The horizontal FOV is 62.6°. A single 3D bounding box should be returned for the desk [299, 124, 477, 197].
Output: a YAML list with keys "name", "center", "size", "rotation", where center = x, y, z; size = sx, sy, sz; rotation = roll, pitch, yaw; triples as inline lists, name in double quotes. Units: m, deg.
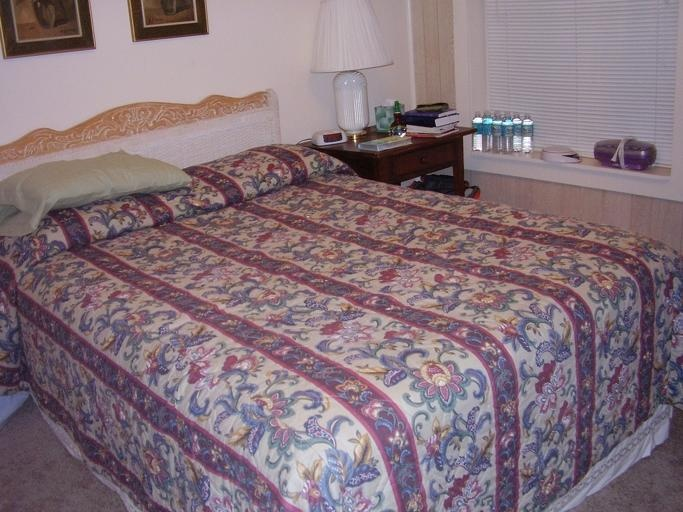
- name: "desk"
  center: [0.291, -0.720, 3.838]
  size: [0.838, 0.618, 0.653]
  rotation: [-18, 22, -38]

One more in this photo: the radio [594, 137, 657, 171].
- name: "radio"
  center: [1.806, -0.650, 3.565]
  size: [0.212, 0.171, 0.369]
  rotation: [-4, 16, -37]

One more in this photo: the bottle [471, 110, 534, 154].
- name: "bottle"
  center: [1.203, -0.889, 4.166]
  size: [0.246, 0.352, 0.406]
  rotation: [-20, 24, -39]
